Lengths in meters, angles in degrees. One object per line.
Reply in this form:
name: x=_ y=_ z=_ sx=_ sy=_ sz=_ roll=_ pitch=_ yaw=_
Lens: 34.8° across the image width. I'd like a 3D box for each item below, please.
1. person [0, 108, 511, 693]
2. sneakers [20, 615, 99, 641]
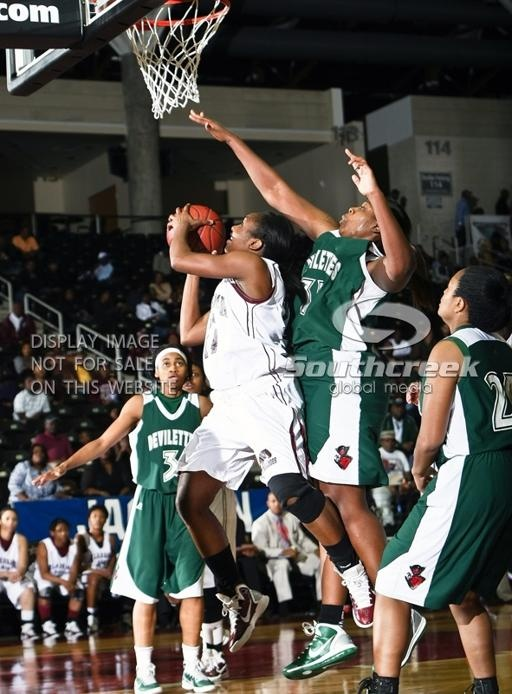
person: x=0.259 y=0.111 z=3.123 sx=1.092 sy=2.243 sz=1.331 roll=-3 pitch=1 yaw=-5
sneakers: x=-1.369 y=1.960 z=5.671 sx=0.509 sy=0.176 sz=0.150 roll=-1 pitch=25 yaw=0
